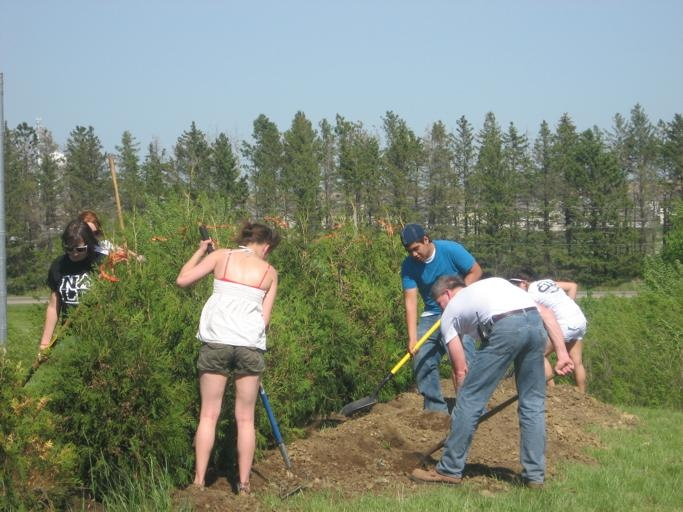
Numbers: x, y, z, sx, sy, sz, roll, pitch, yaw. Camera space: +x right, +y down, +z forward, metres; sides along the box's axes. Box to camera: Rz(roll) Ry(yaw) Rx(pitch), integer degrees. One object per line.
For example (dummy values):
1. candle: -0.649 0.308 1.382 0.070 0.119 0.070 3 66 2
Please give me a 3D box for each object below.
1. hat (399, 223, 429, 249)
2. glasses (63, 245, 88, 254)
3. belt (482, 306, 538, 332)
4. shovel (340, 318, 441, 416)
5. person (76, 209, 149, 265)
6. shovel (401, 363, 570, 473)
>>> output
1. hat: 1.155 -0.331 15.495 0.418 0.358 0.263 2 0 -13
2. glasses: -4.019 -0.102 14.325 0.358 0.097 0.196 2 0 3
3. belt: 2.423 0.914 13.839 0.741 0.362 0.145 2 0 4
4. shovel: 0.861 1.826 15.708 0.202 2.188 0.469 41 7 19
5. person: -3.574 -0.330 14.449 0.698 0.599 1.386 2 0 -35
6. shovel: 2.211 2.568 14.759 2.295 0.277 0.314 -35 33 4
